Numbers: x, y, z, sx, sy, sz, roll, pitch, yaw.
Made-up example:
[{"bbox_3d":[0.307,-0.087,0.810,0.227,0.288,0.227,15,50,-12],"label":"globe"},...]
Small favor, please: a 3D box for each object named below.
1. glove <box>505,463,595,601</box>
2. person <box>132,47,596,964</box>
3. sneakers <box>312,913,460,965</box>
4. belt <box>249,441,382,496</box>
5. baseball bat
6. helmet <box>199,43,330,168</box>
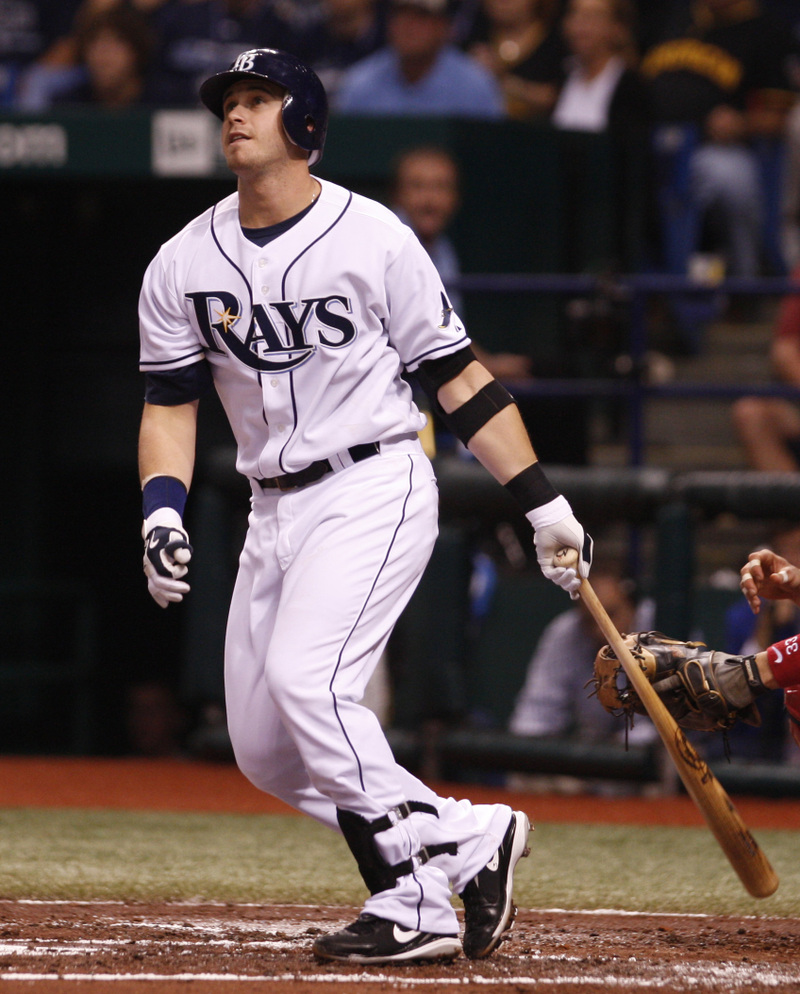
[{"bbox_3d":[0.272,0.060,2.843,0.126,0.278,0.083,-36,21,10],"label":"glove"},{"bbox_3d":[-0.100,0.039,2.788,0.685,1.635,0.815,-11,20,-28],"label":"person"},{"bbox_3d":[-0.019,0.755,2.658,0.262,0.085,0.085,6,-10,-17],"label":"sneakers"},{"bbox_3d":[-0.146,-0.046,2.740,0.227,0.099,0.092,0,16,3],"label":"belt"},{"bbox_3d":[0.733,0.667,4.326,0.135,1.128,0.131,-38,-10,3],"label":"baseball bat"},{"bbox_3d":[-0.235,-0.716,2.823,0.233,0.145,0.174,6,1,-40],"label":"helmet"}]
